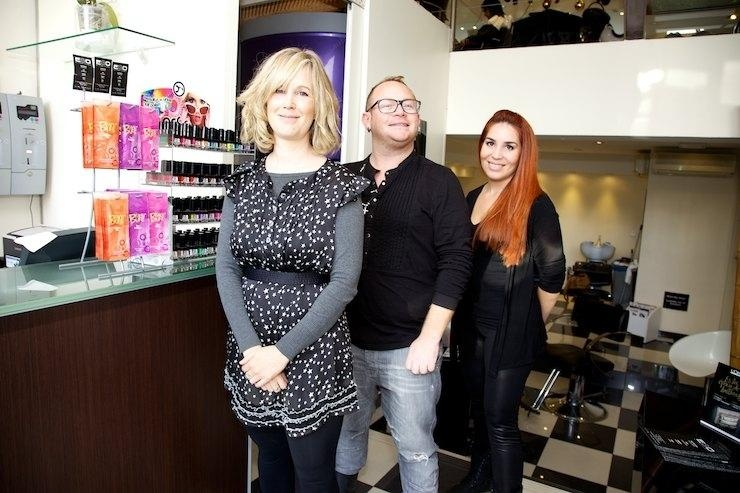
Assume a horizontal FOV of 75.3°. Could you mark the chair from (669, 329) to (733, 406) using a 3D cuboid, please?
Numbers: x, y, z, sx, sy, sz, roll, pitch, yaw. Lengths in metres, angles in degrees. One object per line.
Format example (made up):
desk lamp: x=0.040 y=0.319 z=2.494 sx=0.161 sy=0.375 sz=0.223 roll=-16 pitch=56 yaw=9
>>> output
chair: x=2.385 y=0.858 z=3.576 sx=0.424 sy=0.295 sz=0.386 roll=-2 pitch=48 yaw=16

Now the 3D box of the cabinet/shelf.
cabinet/shelf: x=-0.799 y=-0.195 z=2.226 sx=0.180 sy=0.484 sz=0.528 roll=9 pitch=13 yaw=29

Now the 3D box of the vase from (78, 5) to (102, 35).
vase: x=-1.321 y=-1.094 z=2.295 sx=0.102 sy=0.161 sz=0.225 roll=-1 pitch=14 yaw=-34

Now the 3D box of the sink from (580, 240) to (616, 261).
sink: x=3.813 y=0.057 z=8.115 sx=0.420 sy=0.291 sz=0.428 roll=6 pitch=10 yaw=13
